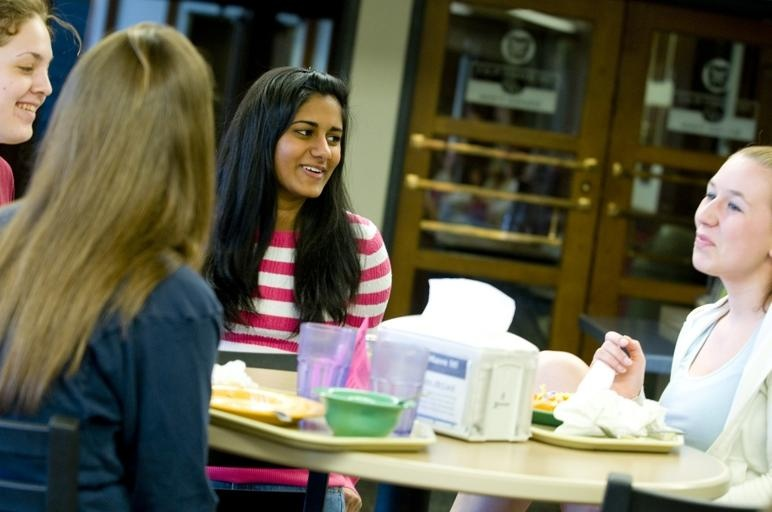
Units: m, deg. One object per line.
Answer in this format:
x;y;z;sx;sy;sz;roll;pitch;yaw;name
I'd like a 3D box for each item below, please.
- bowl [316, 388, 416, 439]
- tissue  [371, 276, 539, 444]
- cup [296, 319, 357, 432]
-0.058;0.329;1.665;0.183;0.084;0.183;5;2;0;bowl
0.137;0.219;1.893;0.366;0.353;0.220;7;8;35;tissue 
-0.145;0.247;1.754;0.115;0.116;0.181;11;36;-8;cup
